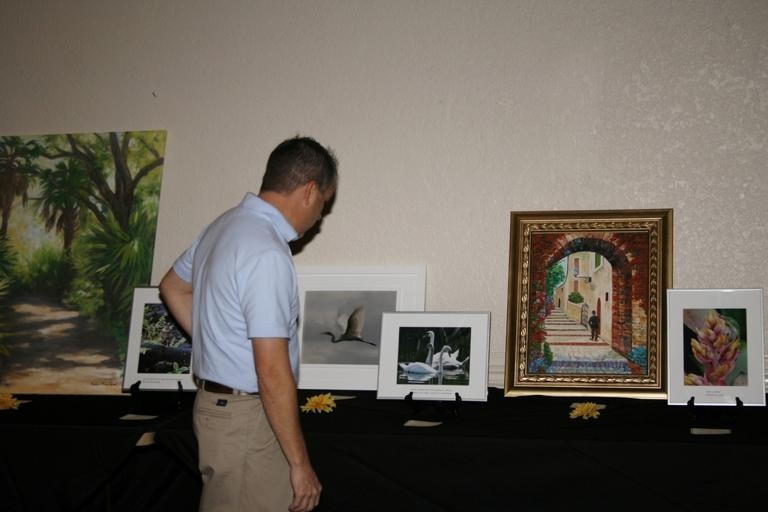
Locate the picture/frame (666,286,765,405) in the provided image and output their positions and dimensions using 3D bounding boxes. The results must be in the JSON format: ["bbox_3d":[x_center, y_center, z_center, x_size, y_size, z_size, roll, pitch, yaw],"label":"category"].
[{"bbox_3d":[1.773,0.500,3.291,0.603,0.759,0.049,0,-6,5],"label":"picture/frame"}]

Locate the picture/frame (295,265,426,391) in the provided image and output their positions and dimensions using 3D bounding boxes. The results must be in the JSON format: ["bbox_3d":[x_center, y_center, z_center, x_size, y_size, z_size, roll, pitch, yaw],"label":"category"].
[{"bbox_3d":[-0.111,0.441,3.562,0.711,0.836,0.058,-1,-11,11],"label":"picture/frame"}]

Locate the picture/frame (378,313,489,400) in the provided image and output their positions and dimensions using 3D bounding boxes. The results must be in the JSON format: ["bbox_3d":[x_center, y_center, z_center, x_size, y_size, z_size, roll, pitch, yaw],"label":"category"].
[{"bbox_3d":[0.291,0.567,3.397,0.487,0.390,0.021,-1,-17,12],"label":"picture/frame"}]
